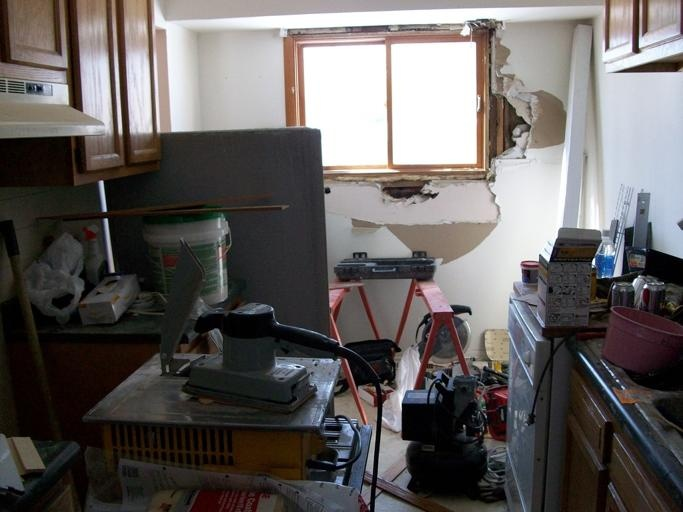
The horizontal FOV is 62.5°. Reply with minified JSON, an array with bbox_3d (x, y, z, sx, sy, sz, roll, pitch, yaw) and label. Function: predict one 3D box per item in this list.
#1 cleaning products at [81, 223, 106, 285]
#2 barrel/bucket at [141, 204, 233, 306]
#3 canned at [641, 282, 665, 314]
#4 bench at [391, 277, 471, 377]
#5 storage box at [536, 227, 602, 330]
[{"bbox_3d":[-1.238,-0.017,2.812,0.098,0.274,0.244,-6,13,-23],"label":"cleaning products"},{"bbox_3d":[-0.737,-0.019,2.748,0.487,0.433,0.513,0,14,0],"label":"barrel/bucket"},{"bbox_3d":[1.169,0.153,2.113,0.082,0.156,0.086,4,13,23],"label":"canned"},{"bbox_3d":[0.612,0.445,3.887,0.291,0.502,0.782,-6,19,-2],"label":"bench"},{"bbox_3d":[0.878,0.066,2.210,0.179,0.400,0.227,2,13,10],"label":"storage box"}]
